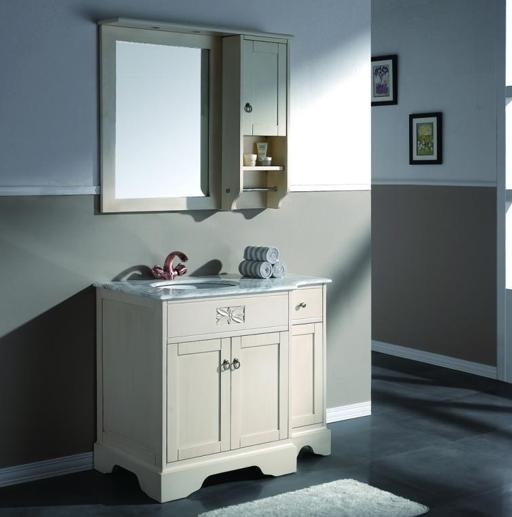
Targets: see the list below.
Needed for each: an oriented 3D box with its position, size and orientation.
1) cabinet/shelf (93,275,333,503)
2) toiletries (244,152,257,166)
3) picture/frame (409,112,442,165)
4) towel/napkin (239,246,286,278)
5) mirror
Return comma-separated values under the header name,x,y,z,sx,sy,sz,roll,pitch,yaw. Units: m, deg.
name,x,y,z,sx,sy,sz,roll,pitch,yaw
cabinet/shelf,-0.169,0.547,2.628,1.308,1.255,0.728,-1,1,-41
toiletries,-0.029,-0.530,2.745,0.057,0.051,0.058,-3,7,-22
picture/frame,1.423,-1.006,4.336,0.035,0.618,0.396,-3,5,-36
towel/napkin,0.022,0.008,2.684,0.164,0.155,0.166,2,0,-35
mirror,-0.479,-0.689,2.492,0.789,1.240,0.048,-5,9,-40
